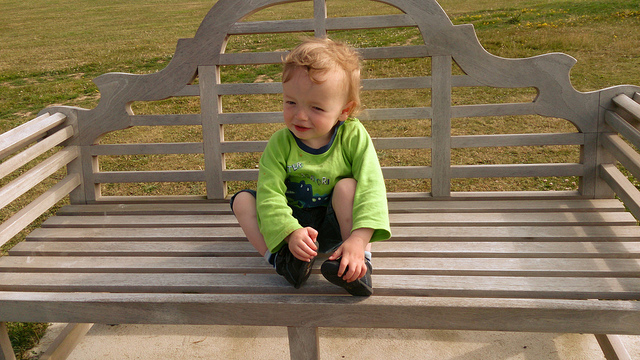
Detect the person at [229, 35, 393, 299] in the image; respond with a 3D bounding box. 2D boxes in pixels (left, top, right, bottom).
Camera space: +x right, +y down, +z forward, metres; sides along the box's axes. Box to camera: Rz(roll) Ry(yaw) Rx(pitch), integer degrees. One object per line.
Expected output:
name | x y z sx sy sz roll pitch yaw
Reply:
person | -0.030 -0.084 2.621 0.881 1.219 0.969 2 34 8
